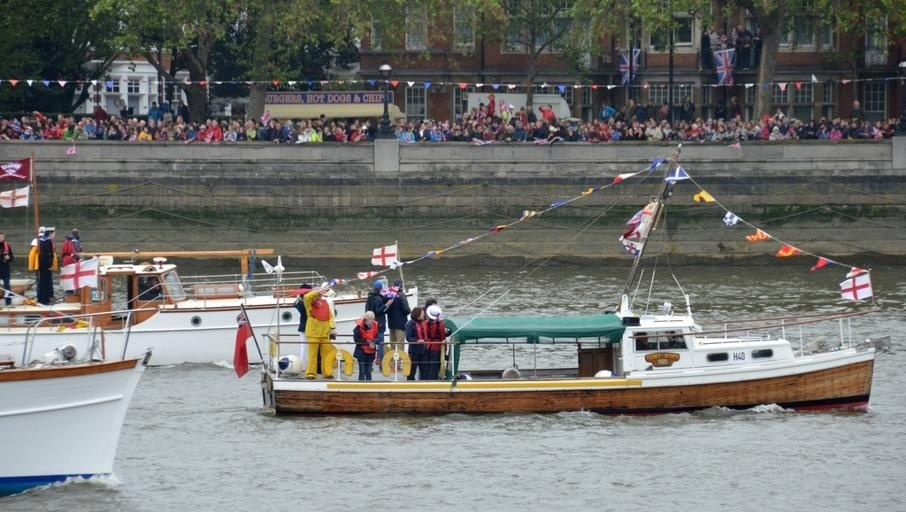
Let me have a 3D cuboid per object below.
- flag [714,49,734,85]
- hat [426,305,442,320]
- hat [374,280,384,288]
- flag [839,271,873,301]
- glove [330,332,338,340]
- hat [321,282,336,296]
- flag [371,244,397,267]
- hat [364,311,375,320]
[{"bbox_3d":[13.337,-9.450,118.058,0.898,1.663,1.432,-1,7,10],"label":"flag"},{"bbox_3d":[-0.713,2.148,98.094,0.705,0.590,0.377,-7,8,-34],"label":"hat"},{"bbox_3d":[-3.065,1.077,99.533,0.315,0.235,0.454,9,23,26],"label":"hat"},{"bbox_3d":[16.850,1.145,100.550,1.276,1.390,0.283,0,8,18],"label":"flag"},{"bbox_3d":[-4.898,3.184,99.044,0.244,0.200,0.272,2,10,-2],"label":"glove"},{"bbox_3d":[-5.236,1.252,100.864,0.462,0.536,1.256,0,6,-3],"label":"hat"},{"bbox_3d":[-2.939,-0.147,103.800,1.015,0.946,0.131,-7,29,-9],"label":"flag"},{"bbox_3d":[-3.405,2.274,98.210,0.388,0.358,0.605,-3,7,-5],"label":"hat"}]
